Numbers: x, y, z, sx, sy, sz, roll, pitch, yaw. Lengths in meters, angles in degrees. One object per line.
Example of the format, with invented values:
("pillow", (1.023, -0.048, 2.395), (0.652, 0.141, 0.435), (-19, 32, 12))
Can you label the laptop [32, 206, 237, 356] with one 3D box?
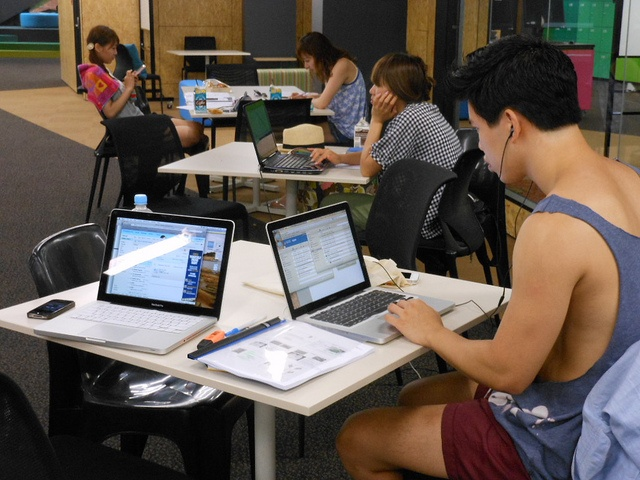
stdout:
("laptop", (-0.510, 0.006, 1.445), (0.446, 0.317, 0.423), (7, 18, 20))

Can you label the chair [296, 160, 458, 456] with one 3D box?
("chair", (0.413, -0.010, 3.371), (1.128, 1.886, 0.948), (-7, 12, -37))

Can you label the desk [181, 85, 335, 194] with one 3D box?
("desk", (-0.552, -0.901, 4.424), (0.999, 0.674, 1.076), (3, 17, 7))

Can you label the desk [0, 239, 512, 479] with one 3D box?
("desk", (-0.212, 0.378, 1.554), (0.771, 0.494, 0.806), (8, 13, 30))

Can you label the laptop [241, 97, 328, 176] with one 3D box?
("laptop", (-0.232, -0.633, 3.500), (0.503, 0.460, 0.637), (3, 18, 9))

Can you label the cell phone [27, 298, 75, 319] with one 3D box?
("cell phone", (-0.827, 0.201, 1.557), (0.049, 0.015, 0.091), (5, 17, 14))

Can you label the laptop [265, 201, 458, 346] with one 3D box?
("laptop", (0.121, 0.011, 1.526), (0.451, 0.344, 0.447), (9, 21, 37))
